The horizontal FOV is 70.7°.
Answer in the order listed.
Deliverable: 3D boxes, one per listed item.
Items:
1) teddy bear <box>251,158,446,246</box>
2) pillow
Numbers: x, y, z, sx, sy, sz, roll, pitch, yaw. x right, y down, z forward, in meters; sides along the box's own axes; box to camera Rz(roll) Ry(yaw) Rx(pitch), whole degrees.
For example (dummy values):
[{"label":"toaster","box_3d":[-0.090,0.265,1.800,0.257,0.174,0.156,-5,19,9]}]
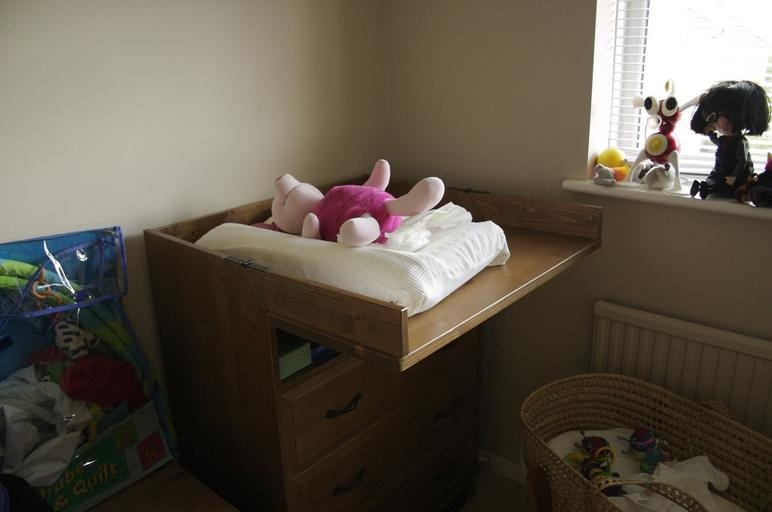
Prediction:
[{"label":"teddy bear","box_3d":[-0.139,-0.141,1.710,0.412,0.182,0.336,8,24,22]},{"label":"pillow","box_3d":[-0.093,-0.007,1.653,0.502,0.141,0.514,17,24,31]}]
